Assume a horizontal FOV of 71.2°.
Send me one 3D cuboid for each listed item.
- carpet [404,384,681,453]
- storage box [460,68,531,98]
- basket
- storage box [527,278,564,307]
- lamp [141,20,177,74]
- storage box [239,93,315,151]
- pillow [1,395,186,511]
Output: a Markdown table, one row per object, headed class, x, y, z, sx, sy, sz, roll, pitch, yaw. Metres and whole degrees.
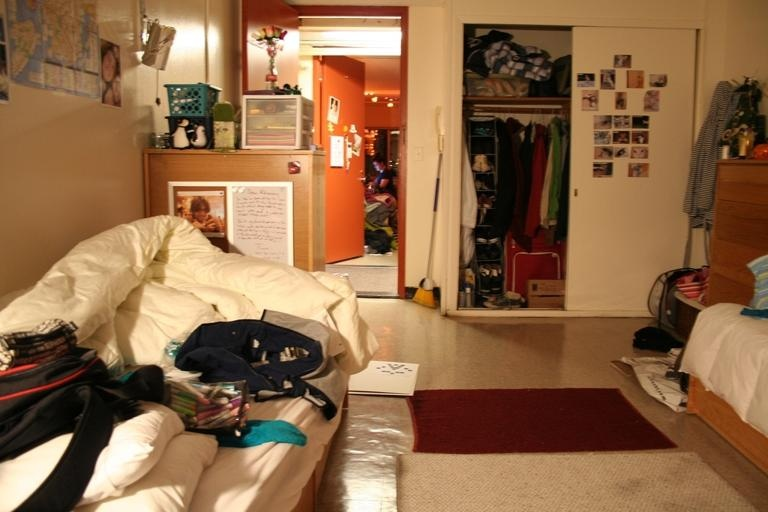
| class | x | y | z | sx | sy | sz | roll | pitch | yaw |
| --- | --- | --- | --- | --- | --- | --- | --- | --- | --- |
| carpet | 0.901 | 1.008 | 3.297 | 1.490 | 0.025 | 0.689 | 0 | 12 | -1 |
| storage box | 1.124 | -1.734 | 5.369 | 0.486 | 0.113 | 0.406 | 2 | 8 | 3 |
| basket | -1.380 | -1.014 | 3.903 | 0.359 | 0.452 | 0.240 | -3 | 17 | -13 |
| storage box | 1.666 | 0.380 | 5.519 | 0.376 | 0.193 | 0.312 | 0 | 0 | 3 |
| lamp | -1.561 | -1.456 | 3.691 | 0.235 | 0.305 | 0.168 | -5 | 17 | -20 |
| storage box | -0.783 | -0.984 | 4.096 | 0.577 | 0.348 | 0.473 | 1 | 5 | 2 |
| pillow | -0.900 | 0.649 | 1.709 | 0.554 | 0.193 | 0.281 | -11 | 18 | -40 |
